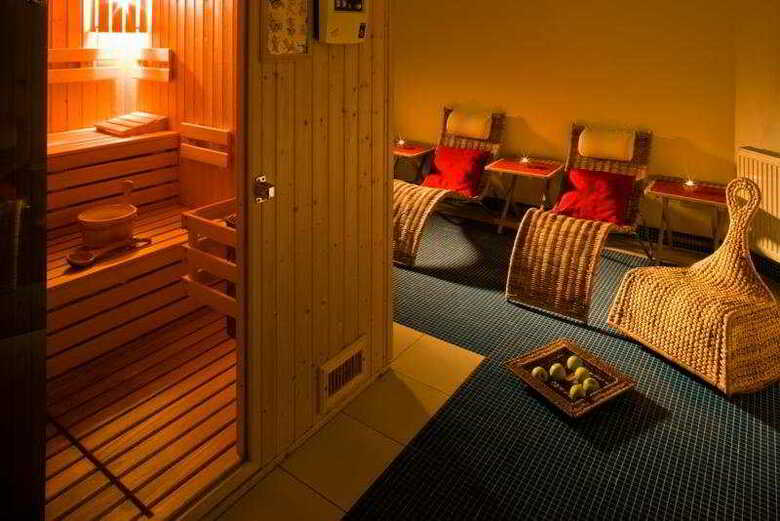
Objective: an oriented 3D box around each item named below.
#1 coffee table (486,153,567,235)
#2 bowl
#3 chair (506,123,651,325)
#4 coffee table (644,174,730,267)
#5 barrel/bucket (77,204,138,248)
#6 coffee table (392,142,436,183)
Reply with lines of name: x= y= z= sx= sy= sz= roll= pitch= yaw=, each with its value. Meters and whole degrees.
coffee table: x=1.422 y=-0.699 z=5.597 sx=0.670 sy=0.548 sz=0.674 roll=15 pitch=23 yaw=42
bowl: x=-1.866 y=-0.311 z=3.546 sx=0.299 sy=0.305 sz=0.480 roll=5 pitch=24 yaw=7
chair: x=1.694 y=-0.449 z=4.569 sx=0.780 sy=1.168 sz=1.729 roll=12 pitch=28 yaw=30
coffee table: x=2.828 y=-0.343 z=4.980 sx=0.679 sy=0.636 sz=0.526 roll=15 pitch=29 yaw=42
barrel/bucket: x=-1.834 y=-0.248 z=3.465 sx=0.243 sy=0.147 sz=0.393 roll=12 pitch=18 yaw=31
coffee table: x=0.216 y=-1.123 z=6.279 sx=0.423 sy=0.399 sz=0.426 roll=-17 pitch=33 yaw=-39
